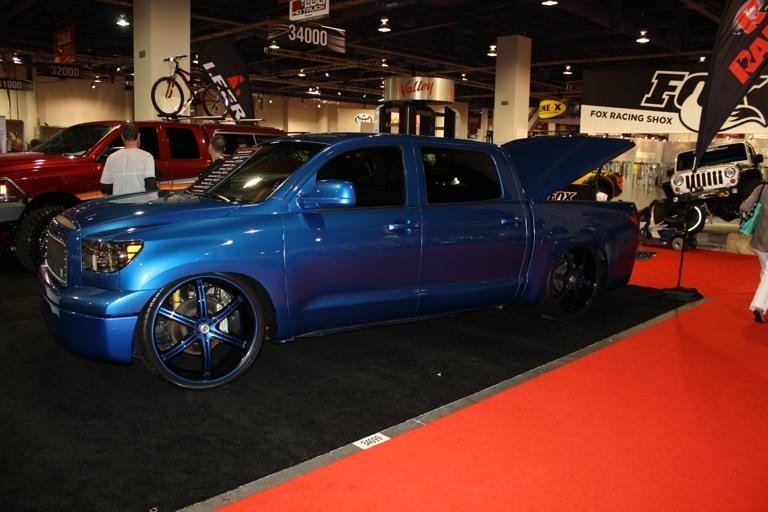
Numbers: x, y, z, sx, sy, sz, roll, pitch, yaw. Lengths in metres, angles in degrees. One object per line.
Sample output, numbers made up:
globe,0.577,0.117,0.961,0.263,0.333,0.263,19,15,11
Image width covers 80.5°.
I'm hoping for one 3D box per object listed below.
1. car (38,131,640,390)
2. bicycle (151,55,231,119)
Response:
car,0.117,0.106,5.366,6.422,1.822,2.937,-2,8,-27
bicycle,-5.364,-4.678,12.735,0.938,1.440,2.629,14,20,25
